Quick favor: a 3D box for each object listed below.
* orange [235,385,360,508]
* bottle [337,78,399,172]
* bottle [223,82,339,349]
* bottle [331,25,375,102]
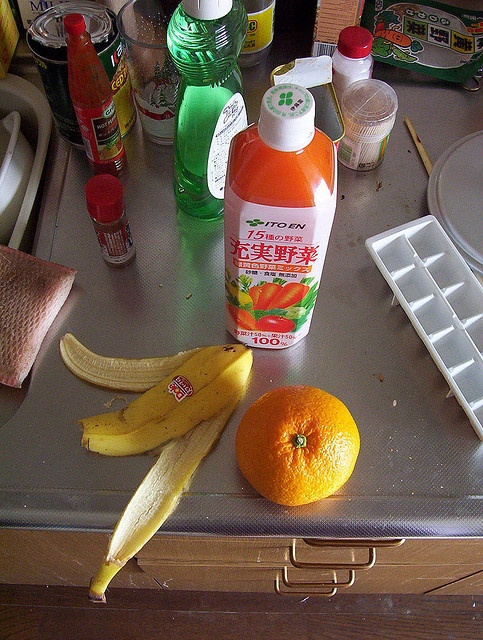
[{"bbox_3d":[0.054,0.120,0.565,0.116,0.086,0.108,-21,56,-14],"label":"orange"},{"bbox_3d":[0.165,-0.252,0.767,0.068,0.117,0.069,-1,55,1],"label":"bottle"},{"bbox_3d":[0.037,-0.087,0.566,0.109,0.299,0.097,-4,58,-3],"label":"bottle"},{"bbox_3d":[0.152,-0.340,0.775,0.054,0.120,0.049,-4,73,5],"label":"bottle"}]
